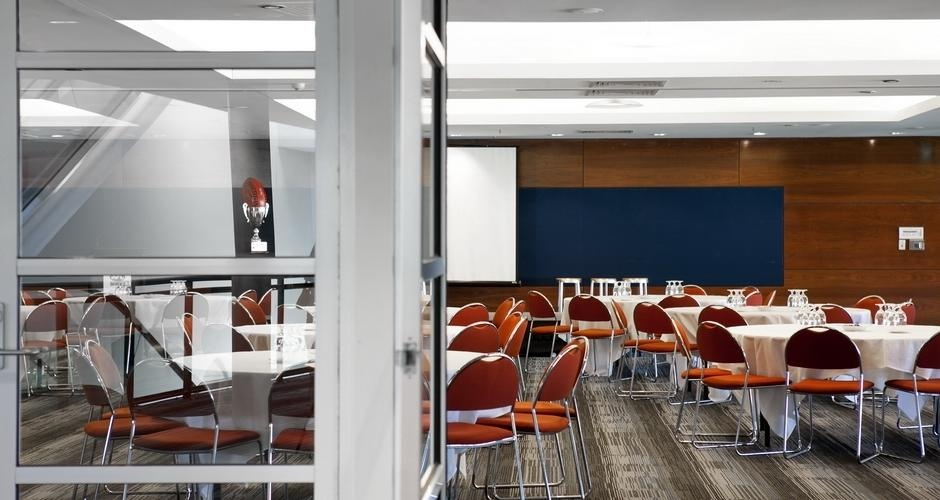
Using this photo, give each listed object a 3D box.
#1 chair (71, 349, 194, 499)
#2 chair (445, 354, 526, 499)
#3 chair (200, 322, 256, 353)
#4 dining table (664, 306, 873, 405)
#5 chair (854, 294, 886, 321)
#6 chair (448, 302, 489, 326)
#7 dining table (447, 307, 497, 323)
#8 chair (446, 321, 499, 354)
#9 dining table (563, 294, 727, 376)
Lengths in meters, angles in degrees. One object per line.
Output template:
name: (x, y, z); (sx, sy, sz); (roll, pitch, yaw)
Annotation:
chair: (-2.087, 0.944, 4.524); (0.948, 1.197, 0.775); (1, -3, -20)
chair: (0.124, 1.479, 5.505); (0.604, 1.398, 0.837); (-1, 6, 4)
chair: (-1.405, 0.489, 3.941); (0.227, 0.266, 0.226); (4, 4, 9)
dining table: (3.207, 1.002, 8.114); (1.850, 0.822, 1.615); (-1, -5, -3)
chair: (5.543, 0.816, 9.343); (0.387, 0.441, 0.385); (-4, -12, 41)
chair: (-0.057, 0.739, 7.663); (0.297, 0.341, 0.305); (2, -1, -15)
dining table: (-0.018, 0.751, 7.547); (0.506, 0.185, 0.450); (-3, 6, -22)
chair: (0.036, 0.822, 6.406); (0.353, 0.406, 0.347); (1, 2, -17)
dining table: (2.211, 1.105, 9.188); (1.754, 0.725, 1.463); (0, -4, 3)
